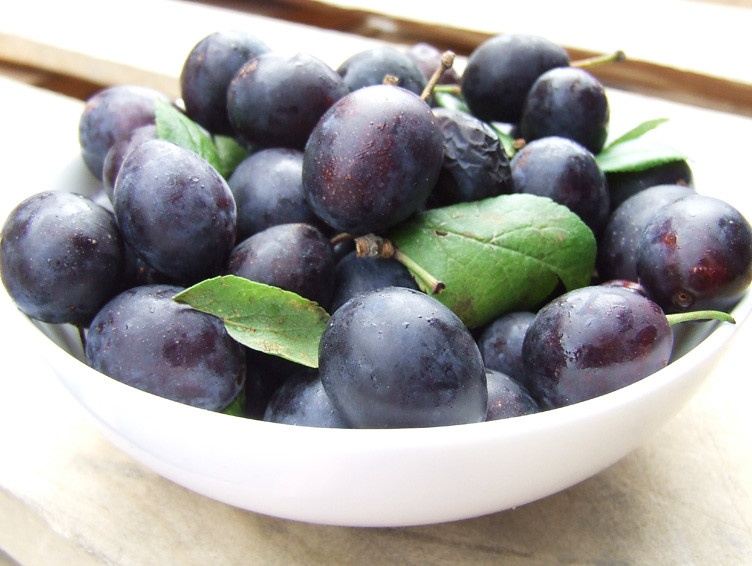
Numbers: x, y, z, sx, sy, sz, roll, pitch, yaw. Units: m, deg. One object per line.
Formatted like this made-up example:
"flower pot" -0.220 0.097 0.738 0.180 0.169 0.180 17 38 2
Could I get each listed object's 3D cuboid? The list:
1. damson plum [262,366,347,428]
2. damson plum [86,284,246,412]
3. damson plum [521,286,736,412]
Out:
"damson plum" -0.072 0.131 0.853 0.063 0.073 0.065 32 52 -31
"damson plum" -0.227 0.069 0.879 0.143 0.113 0.117 23 80 -17
"damson plum" 0.276 0.060 0.882 0.206 0.113 0.119 -17 89 2
